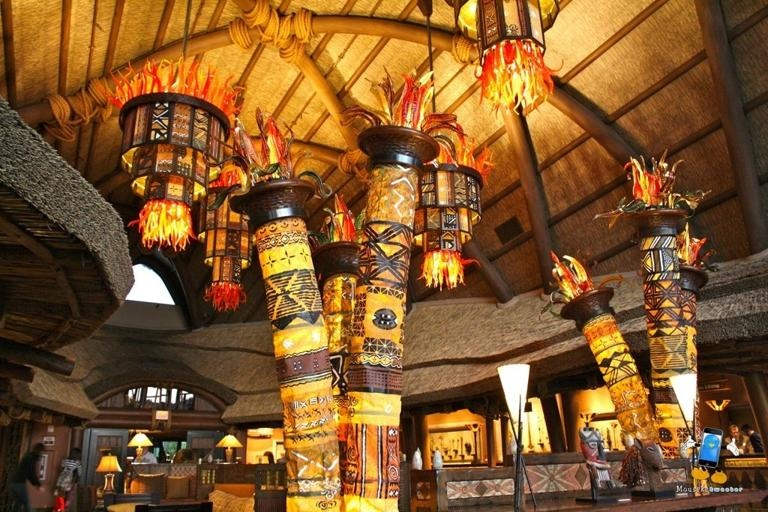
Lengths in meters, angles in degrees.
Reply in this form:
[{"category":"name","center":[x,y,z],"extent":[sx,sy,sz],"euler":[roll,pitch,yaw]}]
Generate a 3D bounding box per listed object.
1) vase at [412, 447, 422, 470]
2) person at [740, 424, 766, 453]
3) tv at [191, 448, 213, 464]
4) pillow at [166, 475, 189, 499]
[{"category":"vase","center":[0.325,2.038,5.223],"extent":[0.091,0.193,0.212],"euler":[-2,-24,-3]},{"category":"person","center":[8.036,3.972,11.306],"extent":[0.257,0.569,1.342],"euler":[-19,-28,28]},{"category":"tv","center":[-6.079,6.641,17.400],"extent":[0.731,0.498,1.850],"euler":[5,-24,-18]},{"category":"pillow","center":[-4.687,5.262,11.774],"extent":[0.510,0.433,0.156],"euler":[5,-57,-23]}]
